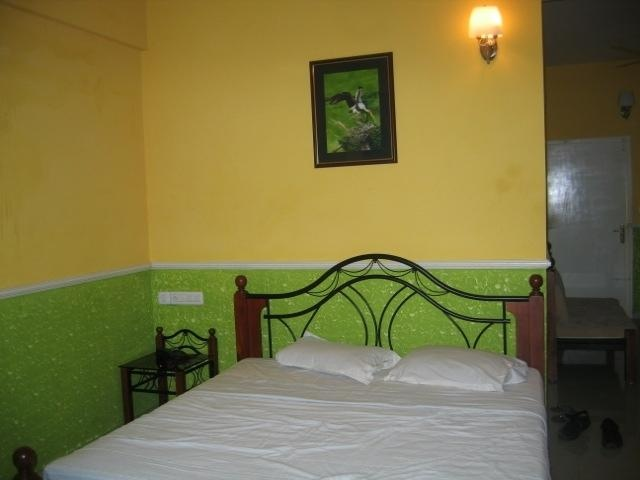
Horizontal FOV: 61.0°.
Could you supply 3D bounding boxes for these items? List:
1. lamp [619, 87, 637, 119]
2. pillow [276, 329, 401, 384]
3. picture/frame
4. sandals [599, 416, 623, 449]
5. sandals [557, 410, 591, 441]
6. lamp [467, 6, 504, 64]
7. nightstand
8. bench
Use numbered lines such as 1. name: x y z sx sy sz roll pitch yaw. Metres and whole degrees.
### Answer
1. lamp: 3.216 -1.402 5.681 0.166 0.299 0.146 2 15 18
2. pillow: 0.113 0.754 3.544 0.745 0.131 0.363 6 17 27
3. picture/frame: 0.252 -0.908 3.704 0.705 0.945 0.060 -1 6 17
4. sandals: 1.896 1.251 3.538 0.112 0.064 0.217 -15 25 28
5. sandals: 1.712 1.226 3.652 0.116 0.121 0.340 -5 -2 39
6. lamp: 1.043 -1.280 3.423 0.212 0.341 0.195 1 15 15
7. nightstand: -1.080 1.068 3.906 0.518 0.798 0.515 1 3 23
8. bench: 2.368 0.770 4.723 0.379 0.545 0.896 -1 6 13
